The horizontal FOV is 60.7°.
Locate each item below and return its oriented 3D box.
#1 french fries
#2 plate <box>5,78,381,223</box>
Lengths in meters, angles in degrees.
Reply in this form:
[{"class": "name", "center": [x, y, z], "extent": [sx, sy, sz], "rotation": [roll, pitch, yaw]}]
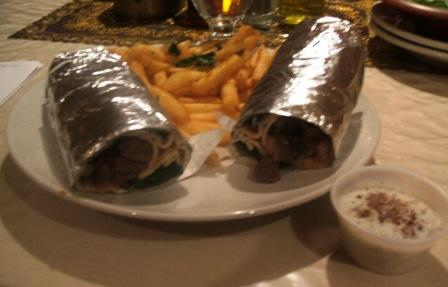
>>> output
[{"class": "french fries", "center": [-0.071, -0.228, 1.253], "extent": [0.462, 0.148, 0.488], "rotation": [27, 44, 30]}, {"class": "plate", "center": [-0.114, 0.017, 1.040], "extent": [1.071, 0.085, 0.449], "rotation": [5, 50, 3]}]
